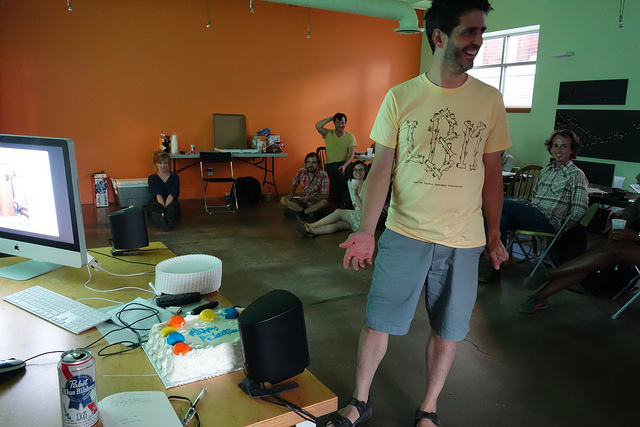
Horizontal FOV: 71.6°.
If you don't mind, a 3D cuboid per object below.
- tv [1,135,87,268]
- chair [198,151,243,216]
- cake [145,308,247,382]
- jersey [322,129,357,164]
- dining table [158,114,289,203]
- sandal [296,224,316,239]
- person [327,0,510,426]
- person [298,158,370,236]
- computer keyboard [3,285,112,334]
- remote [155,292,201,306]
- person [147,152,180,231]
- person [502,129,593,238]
[{"bbox_3d":[-1.473,-0.048,2.323,0.654,0.475,0.182,8,17,26],"label":"tv"},{"bbox_3d":[-1.747,-0.623,7.770,0.685,0.996,1.262,-4,16,-15],"label":"chair"},{"bbox_3d":[-0.540,0.500,1.881,0.434,0.265,0.388,-2,15,-10],"label":"cake"},{"bbox_3d":[0.337,-1.254,8.367,0.615,0.607,0.347,5,16,17],"label":"jersey"},{"bbox_3d":[-1.839,-1.016,7.966,1.595,1.269,0.574,-4,10,-27],"label":"dining table"},{"bbox_3d":[-0.215,0.231,5.887,0.299,0.113,0.118,39,33,-11],"label":"sandal"},{"bbox_3d":[0.571,0.049,2.396,0.950,2.242,0.345,-1,15,-6],"label":"person"},{"bbox_3d":[0.367,-0.233,6.177,0.427,1.028,1.022,18,34,29],"label":"person"},{"bbox_3d":[-1.265,0.451,2.115,0.597,0.081,0.141,8,17,24],"label":"computer keyboard"},{"bbox_3d":[-0.700,0.417,2.177,0.213,0.043,0.052,-3,16,-11],"label":"remote"},{"bbox_3d":[-2.296,-0.362,6.464,0.412,0.987,0.975,-2,19,-21],"label":"person"},{"bbox_3d":[2.314,-0.288,4.466,0.700,1.074,0.600,10,18,33],"label":"person"}]
